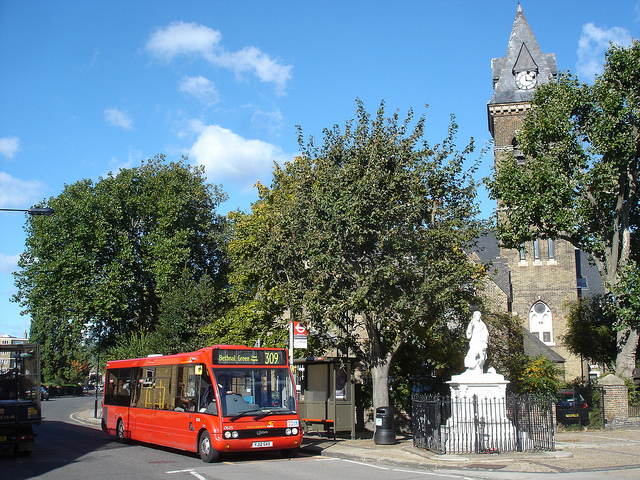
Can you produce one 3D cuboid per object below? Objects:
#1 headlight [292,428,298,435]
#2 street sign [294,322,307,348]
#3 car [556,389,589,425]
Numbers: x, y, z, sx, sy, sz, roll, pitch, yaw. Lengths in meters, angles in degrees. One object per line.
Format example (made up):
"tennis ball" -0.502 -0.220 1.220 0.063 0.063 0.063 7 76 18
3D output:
"headlight" -0.956 7.021 26.304 0.223 0.213 0.050 1 -11 -14
"street sign" -0.837 3.844 29.191 0.455 1.035 0.557 -3 -13 3
"car" 13.477 8.960 38.611 1.401 1.270 2.828 -2 -1 11
